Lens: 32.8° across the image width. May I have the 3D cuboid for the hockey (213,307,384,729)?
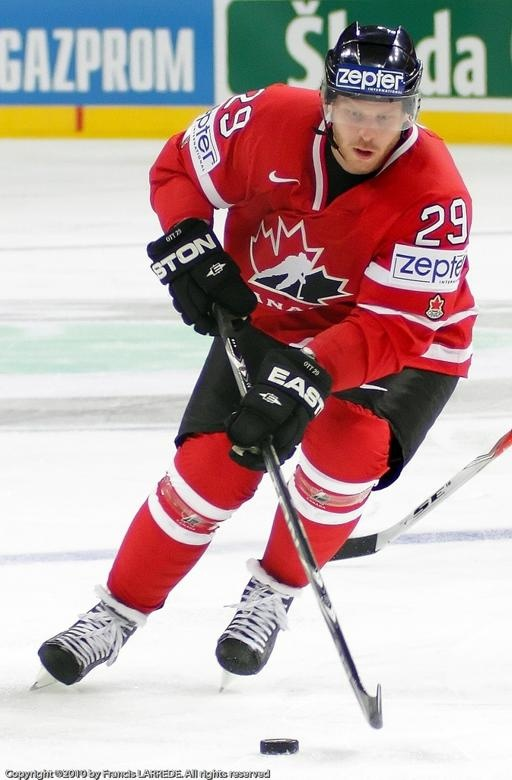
[{"bbox_3d":[0.078,0.237,1.606,0.064,0.743,0.117,-19,-4,-2],"label":"hockey"}]

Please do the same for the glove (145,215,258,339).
[{"bbox_3d":[-0.109,-0.204,1.607,0.229,0.175,0.096,44,27,18],"label":"glove"}]

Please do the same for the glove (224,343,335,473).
[{"bbox_3d":[0.035,0.023,1.442,0.138,0.071,0.207,31,54,-4],"label":"glove"}]

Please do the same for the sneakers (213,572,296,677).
[{"bbox_3d":[-0.004,0.454,1.711,0.099,0.094,0.249,22,34,4],"label":"sneakers"}]

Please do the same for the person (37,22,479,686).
[{"bbox_3d":[0.009,-0.073,1.717,0.754,1.245,0.846,18,21,31],"label":"person"}]

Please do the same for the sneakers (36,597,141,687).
[{"bbox_3d":[-0.289,0.461,1.606,0.077,0.088,0.237,19,24,38],"label":"sneakers"}]

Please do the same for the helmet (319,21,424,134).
[{"bbox_3d":[0.194,-0.525,1.477,0.180,0.181,0.191,-5,42,-8],"label":"helmet"}]
